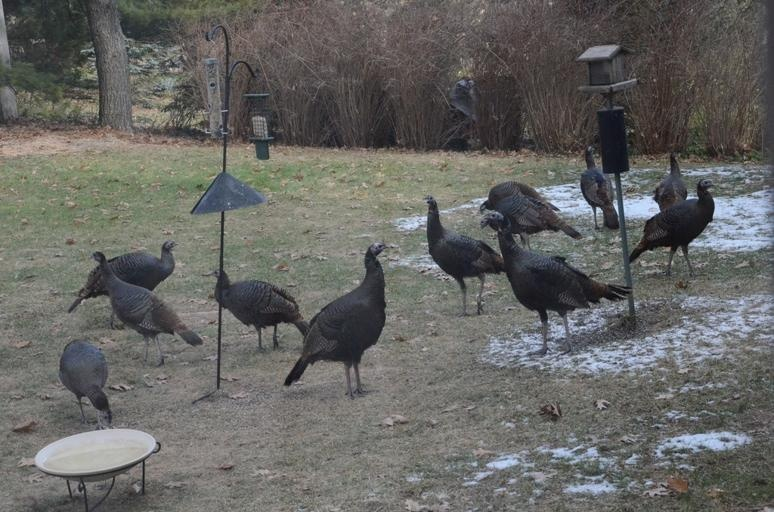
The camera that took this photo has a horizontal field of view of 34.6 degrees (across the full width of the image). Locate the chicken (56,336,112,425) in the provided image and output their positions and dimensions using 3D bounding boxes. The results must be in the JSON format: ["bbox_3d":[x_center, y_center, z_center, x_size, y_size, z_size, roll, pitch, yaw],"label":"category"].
[{"bbox_3d":[-6.502,2.813,27.357,1.423,1.884,0.848,3,9,43],"label":"chicken"}]
